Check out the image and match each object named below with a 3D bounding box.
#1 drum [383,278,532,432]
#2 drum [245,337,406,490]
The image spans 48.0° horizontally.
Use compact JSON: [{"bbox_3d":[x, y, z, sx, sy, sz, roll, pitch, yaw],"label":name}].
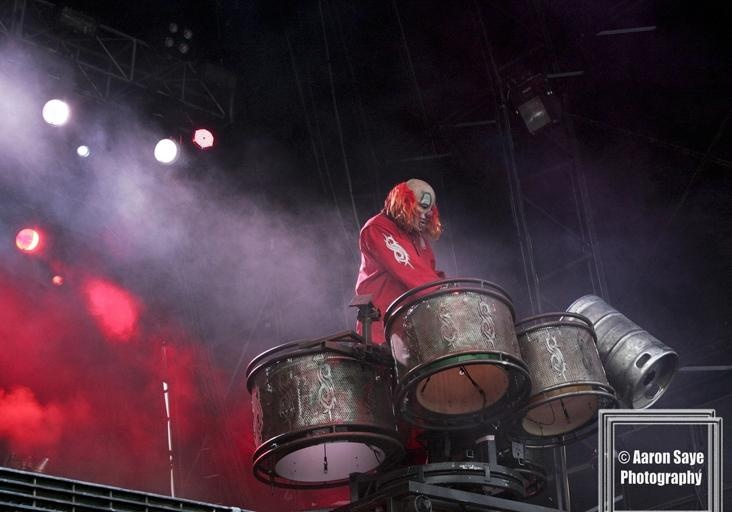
[{"bbox_3d":[0.966,1.098,9.917,1.552,1.265,1.768,4,-45,-8],"label":"drum"},{"bbox_3d":[-0.514,1.994,10.085,1.775,1.252,1.842,-5,-27,-3],"label":"drum"}]
